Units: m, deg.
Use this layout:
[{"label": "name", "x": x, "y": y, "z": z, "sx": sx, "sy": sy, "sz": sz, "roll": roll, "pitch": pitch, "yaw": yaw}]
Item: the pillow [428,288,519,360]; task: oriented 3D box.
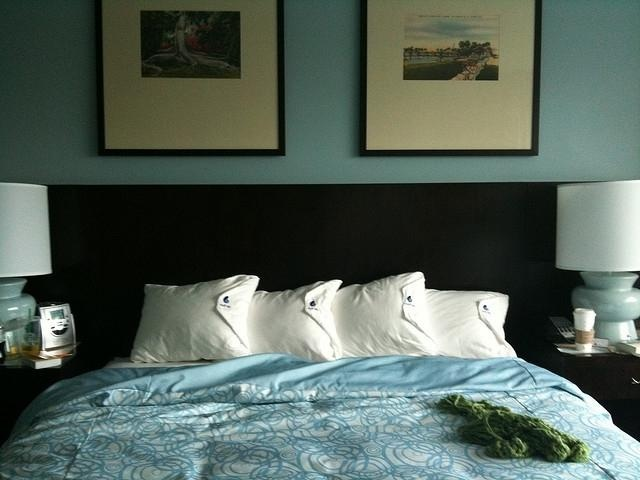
[{"label": "pillow", "x": 0.955, "y": 0.463, "z": 3.358, "sx": 0.439, "sy": 0.429, "sz": 0.132, "roll": 1, "pitch": -30, "yaw": 1}]

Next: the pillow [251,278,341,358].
[{"label": "pillow", "x": -0.146, "y": 0.511, "z": 3.419, "sx": 0.448, "sy": 0.312, "sz": 0.163, "roll": -4, "pitch": -17, "yaw": 9}]
